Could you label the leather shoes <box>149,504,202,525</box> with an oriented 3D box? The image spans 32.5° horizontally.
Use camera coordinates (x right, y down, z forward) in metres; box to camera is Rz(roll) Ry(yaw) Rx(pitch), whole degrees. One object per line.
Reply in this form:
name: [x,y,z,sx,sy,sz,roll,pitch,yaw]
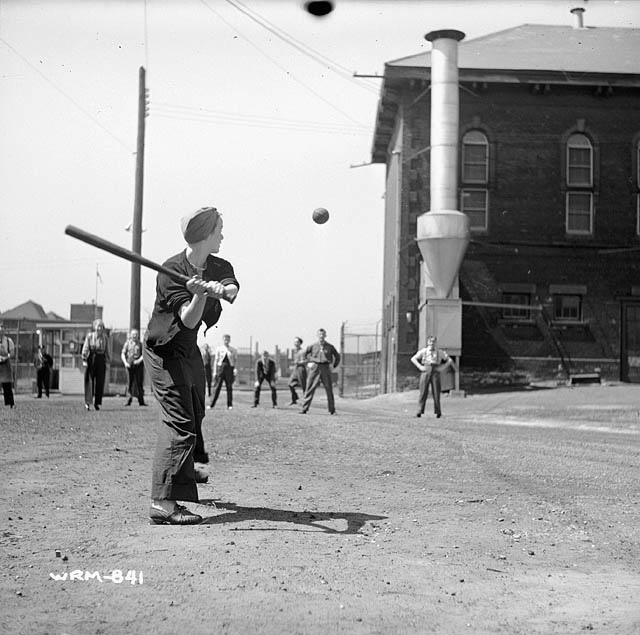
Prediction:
leather shoes: [-0.957,1.309,7.272,0.250,0.124,0.156,0,-4,-6]
